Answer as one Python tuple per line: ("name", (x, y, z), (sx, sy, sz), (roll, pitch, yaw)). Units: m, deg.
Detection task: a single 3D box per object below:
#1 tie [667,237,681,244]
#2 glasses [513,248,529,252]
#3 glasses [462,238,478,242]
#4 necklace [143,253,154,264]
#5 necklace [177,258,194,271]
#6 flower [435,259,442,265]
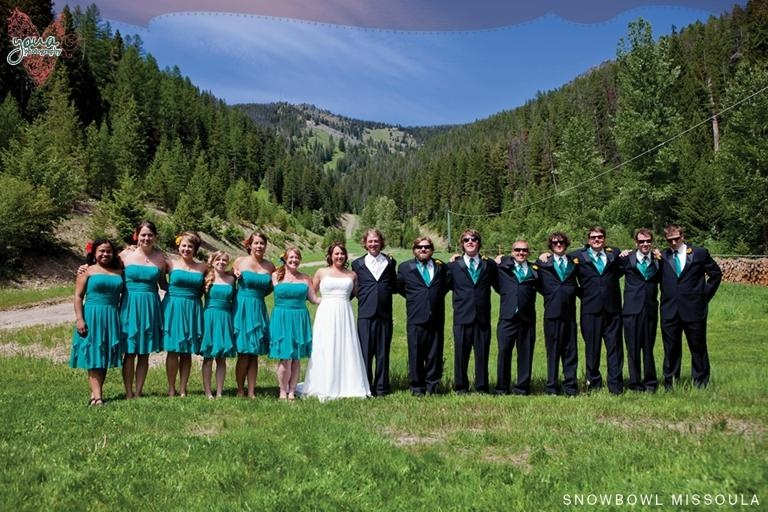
("tie", (9.114, -0.510, 21.759), (0.356, 0.239, 0.255), (-1, 3, 31))
("glasses", (4.308, -0.215, 21.792), (0.456, 0.184, 0.142), (-3, 3, 2))
("glasses", (2.705, -0.556, 21.758), (0.419, 0.150, 0.076), (-2, 2, 11))
("necklace", (-7.333, 0.053, 21.440), (0.256, 0.289, 0.063), (-5, -3, -2))
("necklace", (-6.232, 0.241, 21.606), (0.524, 0.391, 0.304), (7, -25, -12))
("flower", (1.763, 0.171, 22.226), (0.244, 0.164, 0.099), (20, -27, -22))
